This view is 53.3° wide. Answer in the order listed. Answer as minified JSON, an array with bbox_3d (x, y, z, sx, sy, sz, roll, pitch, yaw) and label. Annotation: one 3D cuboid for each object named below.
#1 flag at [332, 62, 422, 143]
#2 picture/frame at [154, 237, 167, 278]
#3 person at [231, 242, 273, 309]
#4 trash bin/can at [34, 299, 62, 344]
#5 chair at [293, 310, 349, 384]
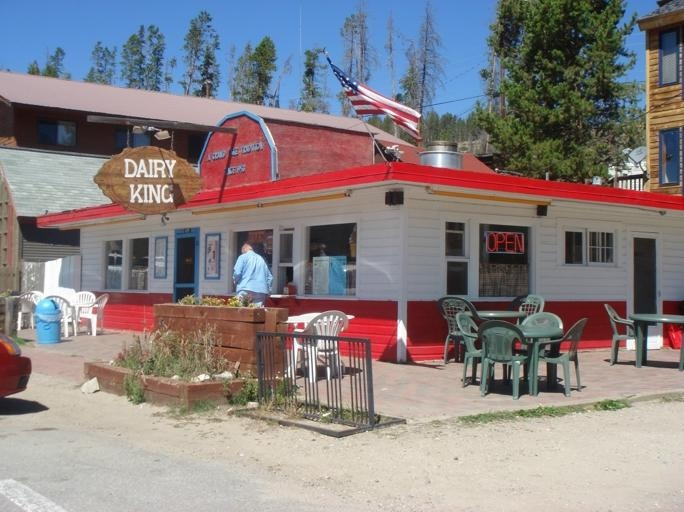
[{"bbox_3d":[0.670,-2.779,12.340,1.617,1.359,0.927,3,5,31],"label":"flag"},{"bbox_3d":[-5.048,0.035,18.965,0.639,1.157,0.039,0,-2,44],"label":"picture/frame"},{"bbox_3d":[-1.679,0.368,12.929,0.706,1.159,0.592,0,4,-12],"label":"person"},{"bbox_3d":[-6.917,1.519,16.027,0.577,1.032,0.578,1,6,4],"label":"trash bin/can"},{"bbox_3d":[-0.195,1.451,10.977,0.732,0.971,0.722,4,-15,-19],"label":"chair"}]
